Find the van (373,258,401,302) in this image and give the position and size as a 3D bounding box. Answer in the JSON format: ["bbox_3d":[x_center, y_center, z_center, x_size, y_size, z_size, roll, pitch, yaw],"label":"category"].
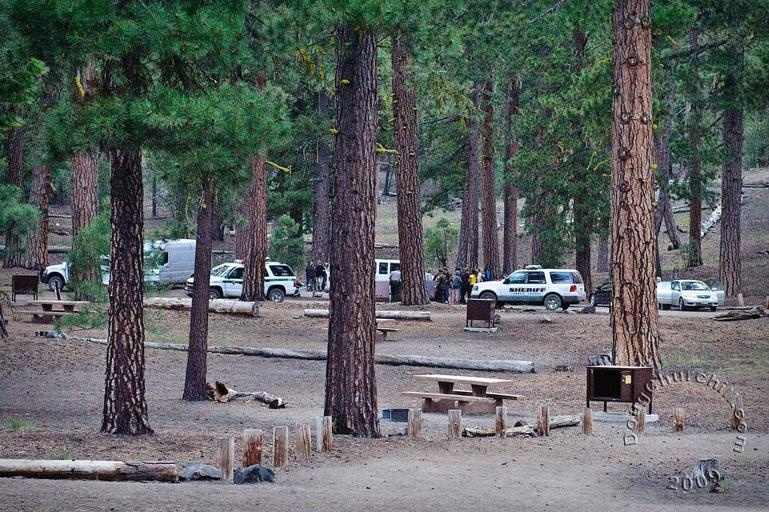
[{"bbox_3d":[0.080,1.199,79.375,1.080,1.126,1.823,1,9,3],"label":"van"}]

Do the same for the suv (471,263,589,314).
[{"bbox_3d":[6.428,1.446,74.713,6.459,2.850,2.882,0,0,8],"label":"suv"}]

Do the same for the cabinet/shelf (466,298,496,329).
[{"bbox_3d":[3.575,2.123,64.323,1.090,1.216,1.002,0,-2,12],"label":"cabinet/shelf"}]

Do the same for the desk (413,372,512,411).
[{"bbox_3d":[2.391,4.372,52.429,2.197,1.386,2.166,1,1,1],"label":"desk"}]

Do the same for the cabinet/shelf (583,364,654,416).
[{"bbox_3d":[6.916,3.963,50.621,1.954,1.439,1.186,-2,-2,4],"label":"cabinet/shelf"}]

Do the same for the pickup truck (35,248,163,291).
[{"bbox_3d":[-11.594,0.781,69.104,4.229,1.515,22.617,-2,-2,-12],"label":"pickup truck"}]

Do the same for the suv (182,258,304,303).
[{"bbox_3d":[-5.806,1.121,75.343,5.146,1.816,2.651,0,-3,-37],"label":"suv"}]
